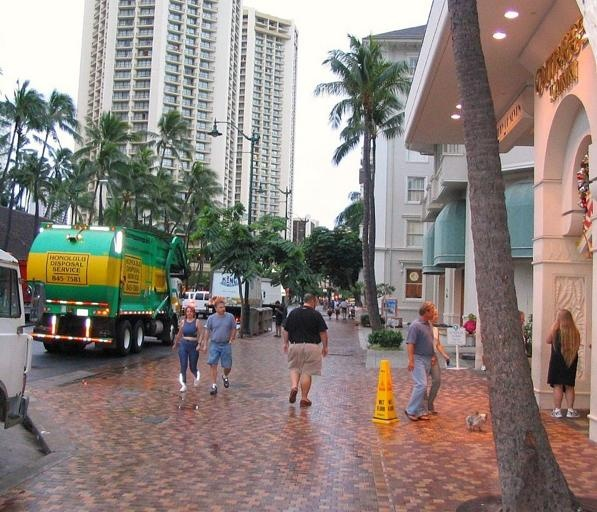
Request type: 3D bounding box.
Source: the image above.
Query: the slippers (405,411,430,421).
[{"bbox_3d":[2.224,2.998,8.840,0.478,0.251,0.180,-6,-5,20],"label":"slippers"}]

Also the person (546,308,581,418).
[{"bbox_3d":[5.025,2.034,9.009,0.543,2.047,0.449,-1,-5,28],"label":"person"}]

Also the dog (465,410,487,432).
[{"bbox_3d":[3.038,2.827,8.146,0.304,0.276,0.384,-1,-5,19],"label":"dog"}]

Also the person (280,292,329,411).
[{"bbox_3d":[0.118,1.915,9.788,0.919,2.289,0.491,0,-4,9],"label":"person"}]

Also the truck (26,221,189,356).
[{"bbox_3d":[-6.564,1.240,16.373,1.892,2.821,4.827,0,-6,9],"label":"truck"}]

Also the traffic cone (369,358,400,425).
[{"bbox_3d":[1.620,2.497,8.893,0.464,1.063,0.887,0,-5,10],"label":"traffic cone"}]

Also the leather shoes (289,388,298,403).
[{"bbox_3d":[-0.111,2.918,9.797,0.136,0.355,0.144,6,32,-6],"label":"leather shoes"}]

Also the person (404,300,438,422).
[{"bbox_3d":[2.263,1.946,8.899,0.865,2.166,0.435,4,-5,-38],"label":"person"}]

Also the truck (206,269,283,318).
[{"bbox_3d":[-3.571,2.596,37.062,2.408,3.115,9.364,0,-2,14],"label":"truck"}]
